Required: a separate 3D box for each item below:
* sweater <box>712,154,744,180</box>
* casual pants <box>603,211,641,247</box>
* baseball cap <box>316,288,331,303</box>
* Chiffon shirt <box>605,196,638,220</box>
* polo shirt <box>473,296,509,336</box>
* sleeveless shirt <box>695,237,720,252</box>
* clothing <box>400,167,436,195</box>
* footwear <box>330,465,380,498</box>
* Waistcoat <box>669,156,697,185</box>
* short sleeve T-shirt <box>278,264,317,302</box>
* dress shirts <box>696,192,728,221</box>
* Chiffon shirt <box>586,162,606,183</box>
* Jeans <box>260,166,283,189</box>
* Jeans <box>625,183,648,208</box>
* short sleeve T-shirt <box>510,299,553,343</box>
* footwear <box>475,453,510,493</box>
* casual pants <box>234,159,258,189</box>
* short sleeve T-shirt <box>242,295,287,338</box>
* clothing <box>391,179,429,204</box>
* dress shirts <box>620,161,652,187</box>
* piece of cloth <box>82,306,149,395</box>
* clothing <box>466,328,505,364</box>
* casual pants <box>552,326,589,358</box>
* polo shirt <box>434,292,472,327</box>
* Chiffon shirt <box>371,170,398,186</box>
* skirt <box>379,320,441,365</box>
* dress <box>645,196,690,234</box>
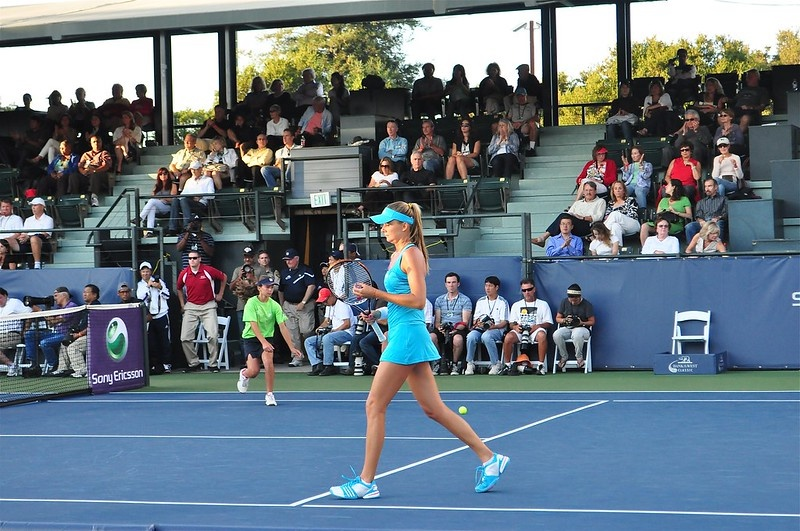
[{"bbox_3d":[8.067,-2.426,39.518,0.728,0.745,0.593,-3,-21,26],"label":"sweater"},{"bbox_3d":[5.358,-1.002,39.010,1.003,0.531,0.584,4,-2,-20],"label":"casual pants"},{"bbox_3d":[-1.891,0.735,38.857,0.341,0.250,0.477,2,20,43],"label":"baseball cap"},{"bbox_3d":[5.409,-1.360,39.144,0.839,0.689,0.499,-4,-17,33],"label":"Chiffon shirt"},{"bbox_3d":[2.142,1.140,38.157,0.891,0.857,0.470,8,9,6],"label":"polo shirt"},{"bbox_3d":[7.242,-0.447,37.837,0.573,0.483,0.331,1,1,2],"label":"sleeveless shirt"},{"bbox_3d":[0.409,-2.176,40.846,1.133,0.962,0.618,-1,-10,8],"label":"clothing"},{"bbox_3d":[-0.919,4.007,28.771,1.028,0.549,0.362,1,-5,1],"label":"footwear"},{"bbox_3d":[6.983,-2.339,39.539,0.570,0.579,0.334,16,-14,24],"label":"Waistcoat"},{"bbox_3d":[-2.641,0.421,40.303,1.186,1.046,0.504,-5,-5,31],"label":"short sleeve T-shirt"},{"bbox_3d":[7.517,-1.422,38.660,0.835,0.822,0.601,9,1,32],"label":"dress shirts"},{"bbox_3d":[4.915,-2.363,40.205,0.374,0.521,0.236,-2,-29,28],"label":"Chiffon shirt"},{"bbox_3d":[-3.530,-2.433,42.869,0.593,0.754,0.610,7,11,17],"label":"Jeans"},{"bbox_3d":[5.941,-1.707,39.666,0.408,0.690,0.207,-3,-10,29],"label":"Jeans"},{"bbox_3d":[3.047,1.331,37.830,0.981,1.013,0.340,-3,-10,7],"label":"short sleeve T-shirt"},{"bbox_3d":[1.647,3.755,28.643,0.444,0.964,0.357,14,34,-16],"label":"footwear"},{"bbox_3d":[-4.305,-2.515,43.771,0.693,0.712,0.304,3,16,-1],"label":"casual pants"},{"bbox_3d":[-3.041,1.115,34.436,1.133,1.081,0.785,2,-8,-15],"label":"short sleeve T-shirt"},{"bbox_3d":[0.237,-1.839,40.482,0.966,0.673,1.053,-3,2,-1],"label":"clothing"},{"bbox_3d":[5.884,-2.288,39.908,0.567,0.639,0.376,-11,-51,49],"label":"dress shirts"},{"bbox_3d":[-6.488,1.943,36.413,0.270,2.245,1.985,-3,-3,35],"label":"piece of cloth"},{"bbox_3d":[1.925,1.873,37.758,0.786,0.892,0.920,1,-4,9],"label":"clothing"},{"bbox_3d":[4.028,1.832,37.738,0.865,0.782,0.591,-2,2,6],"label":"casual pants"},{"bbox_3d":[1.272,1.072,38.444,0.909,0.874,0.503,5,16,30],"label":"polo shirt"},{"bbox_3d":[-0.439,-2.181,41.057,0.693,0.368,0.657,4,23,10],"label":"Chiffon shirt"},{"bbox_3d":[0.108,1.424,28.428,1.166,0.749,0.671,0,3,1],"label":"skirt"},{"bbox_3d":[6.616,-1.221,38.703,0.787,0.933,0.629,-2,2,9],"label":"dress"}]
